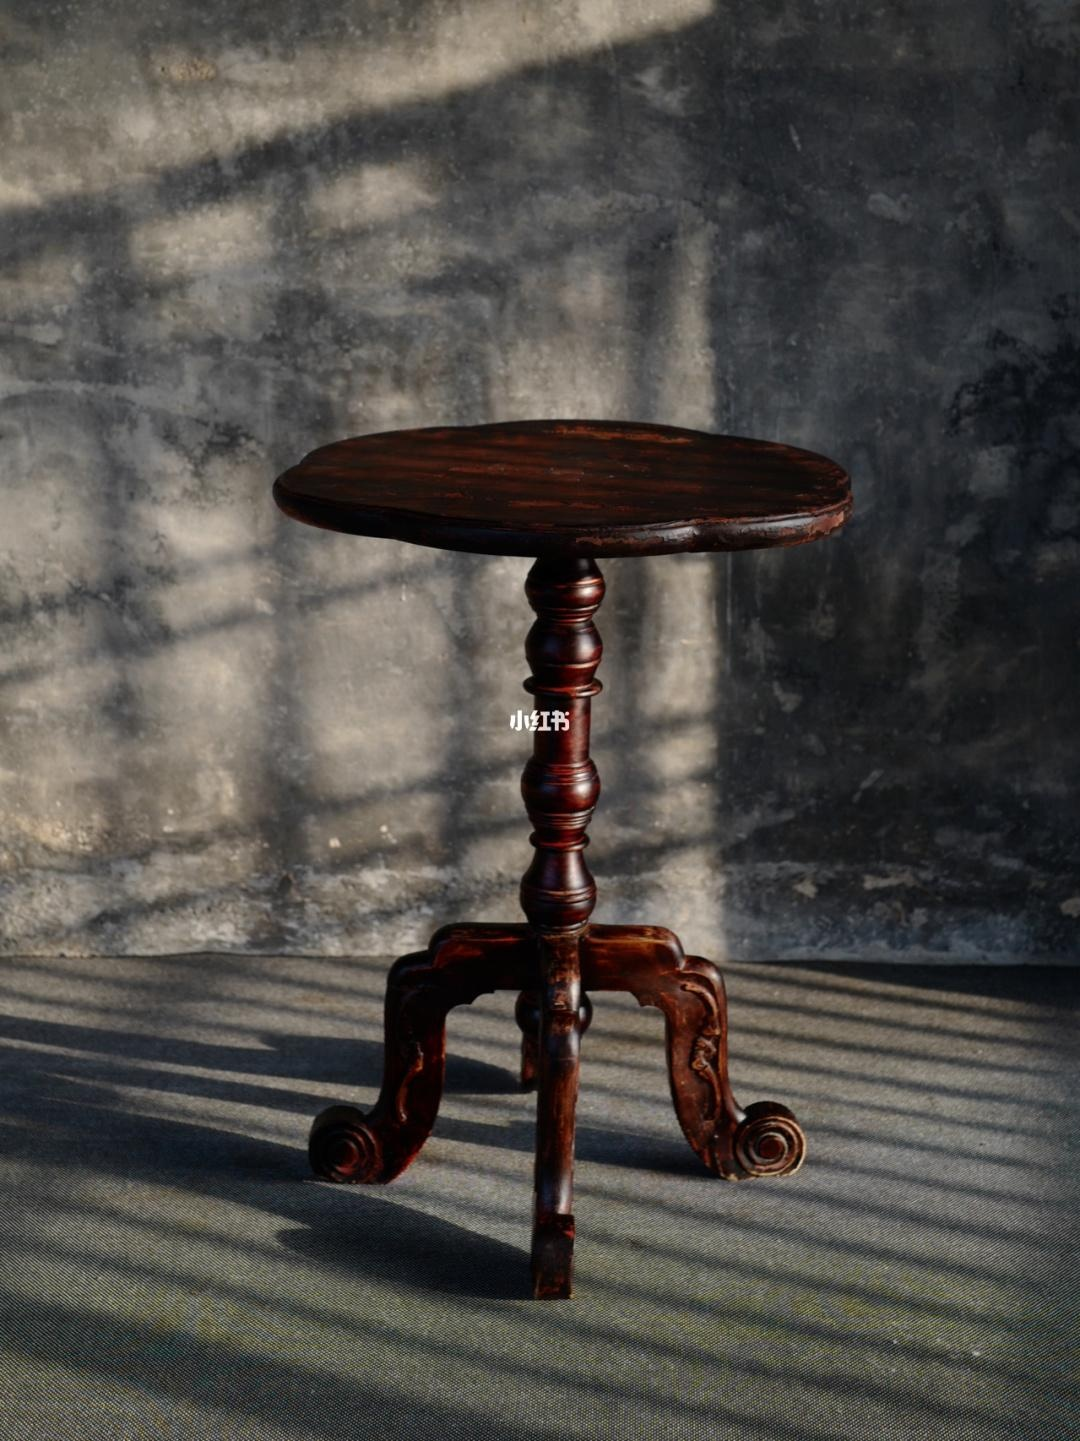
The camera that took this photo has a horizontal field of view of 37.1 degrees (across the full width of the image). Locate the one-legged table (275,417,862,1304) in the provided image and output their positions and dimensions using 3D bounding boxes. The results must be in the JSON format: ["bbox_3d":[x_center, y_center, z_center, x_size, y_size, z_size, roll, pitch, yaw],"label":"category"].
[{"bbox_3d":[0.033,0.144,2.127,0.778,0.888,0.829,-11,-19,38],"label":"one-legged table"}]
